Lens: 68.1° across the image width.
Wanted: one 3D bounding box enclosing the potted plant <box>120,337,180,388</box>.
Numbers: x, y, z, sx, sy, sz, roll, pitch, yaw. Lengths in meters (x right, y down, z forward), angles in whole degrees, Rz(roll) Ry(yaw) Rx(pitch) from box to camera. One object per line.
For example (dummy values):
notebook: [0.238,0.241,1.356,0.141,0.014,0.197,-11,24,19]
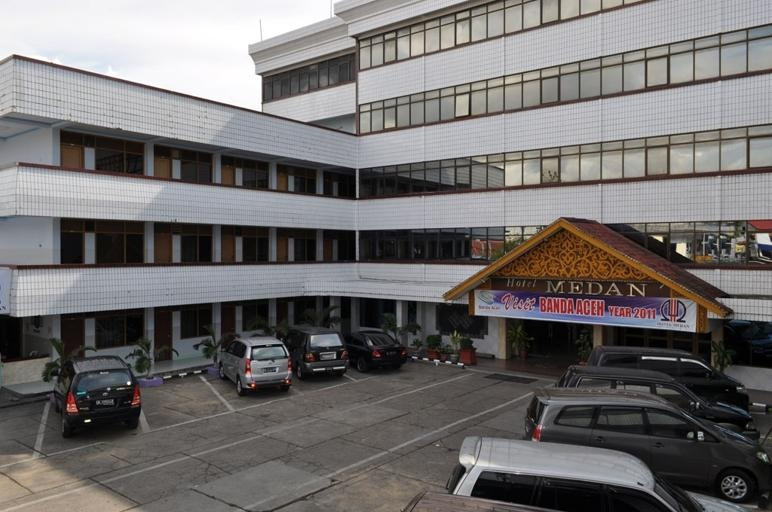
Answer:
potted plant: [-11.235,5.072,28.136,2.497,2.002,2.648,0,-11,-21]
